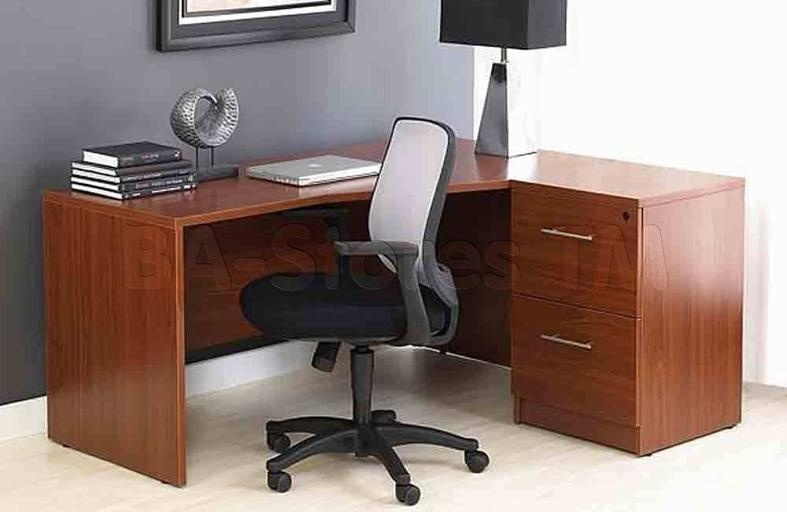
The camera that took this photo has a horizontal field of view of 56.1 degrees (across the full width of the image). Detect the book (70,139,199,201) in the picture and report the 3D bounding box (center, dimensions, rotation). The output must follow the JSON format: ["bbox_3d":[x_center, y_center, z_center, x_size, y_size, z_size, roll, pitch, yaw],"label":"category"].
[{"bbox_3d":[-1.075,-0.397,2.932,0.307,0.135,0.312,16,22,39],"label":"book"}]

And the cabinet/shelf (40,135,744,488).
[{"bbox_3d":[0.060,0.202,3.003,2.281,1.057,1.568,-8,11,-44],"label":"cabinet/shelf"}]

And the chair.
[{"bbox_3d":[-0.114,0.169,2.870,0.946,1.342,0.775,-1,15,6],"label":"chair"}]
